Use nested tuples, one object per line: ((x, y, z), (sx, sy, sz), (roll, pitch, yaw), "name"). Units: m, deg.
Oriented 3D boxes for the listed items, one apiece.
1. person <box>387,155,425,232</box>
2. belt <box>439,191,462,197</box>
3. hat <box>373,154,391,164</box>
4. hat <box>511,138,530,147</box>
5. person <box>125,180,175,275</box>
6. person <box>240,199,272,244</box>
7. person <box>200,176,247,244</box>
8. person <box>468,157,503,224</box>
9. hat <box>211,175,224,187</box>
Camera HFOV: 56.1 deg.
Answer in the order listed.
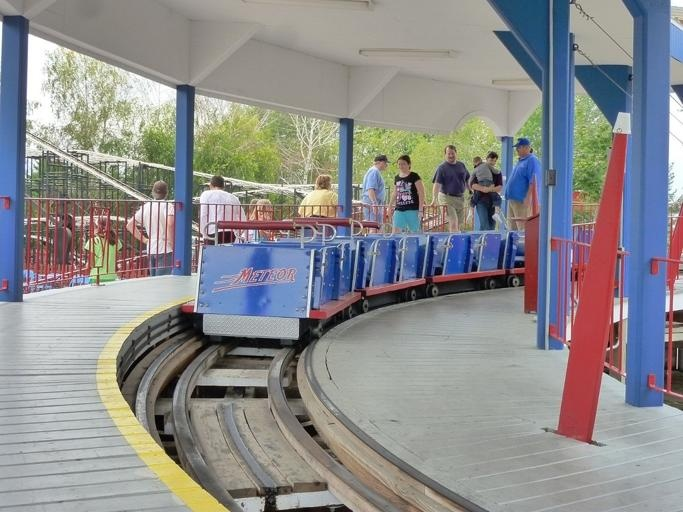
((1.307, -1.184, 12.640), (0.647, 1.557, 1.115), (3, 7, 6), "person")
((2.285, -1.250, 13.277), (0.468, 0.110, 0.175), (4, 7, 8), "belt")
((0.783, -1.924, 12.801), (0.228, 0.207, 0.332), (5, 11, 22), "hat")
((3.035, -1.903, 10.816), (0.258, 0.164, 0.177), (-7, 8, 20), "hat")
((-3.255, -0.430, 11.108), (0.733, 1.694, 1.465), (1, 7, -14), "person")
((-1.579, -0.629, 13.020), (0.541, 0.977, 0.554), (7, -21, -19), "person")
((-1.948, -0.703, 10.487), (0.722, 1.159, 3.247), (1, 7, -12), "person")
((2.882, -1.271, 12.791), (0.641, 1.586, 1.031), (4, 7, 12), "person")
((-2.151, -1.288, 11.160), (0.167, 0.217, 0.211), (0, 9, -3), "hat")
